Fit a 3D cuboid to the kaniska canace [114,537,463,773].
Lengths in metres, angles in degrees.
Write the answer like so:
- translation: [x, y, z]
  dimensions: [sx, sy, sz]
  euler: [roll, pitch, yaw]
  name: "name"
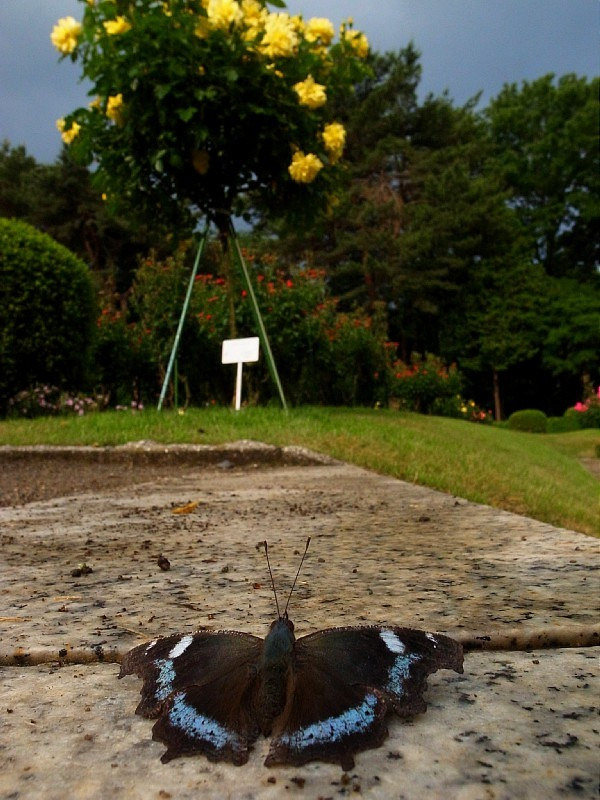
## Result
- translation: [-0.020, 0.405, 1.197]
  dimensions: [0.320, 0.121, 0.250]
  euler: [0, 24, 5]
  name: "kaniska canace"
